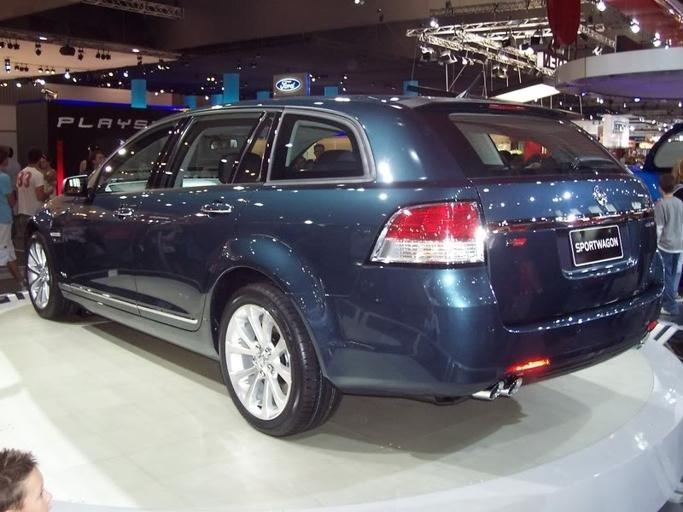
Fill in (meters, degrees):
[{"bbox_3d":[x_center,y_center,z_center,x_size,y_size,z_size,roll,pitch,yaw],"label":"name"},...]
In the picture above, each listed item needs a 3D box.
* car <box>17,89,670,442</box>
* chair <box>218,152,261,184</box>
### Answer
[{"bbox_3d":[-0.761,-0.153,3.808,5.663,2.006,1.768,7,11,36],"label":"car"},{"bbox_3d":[-0.653,-0.555,2.891,0.287,0.219,0.151,8,4,41],"label":"chair"}]
